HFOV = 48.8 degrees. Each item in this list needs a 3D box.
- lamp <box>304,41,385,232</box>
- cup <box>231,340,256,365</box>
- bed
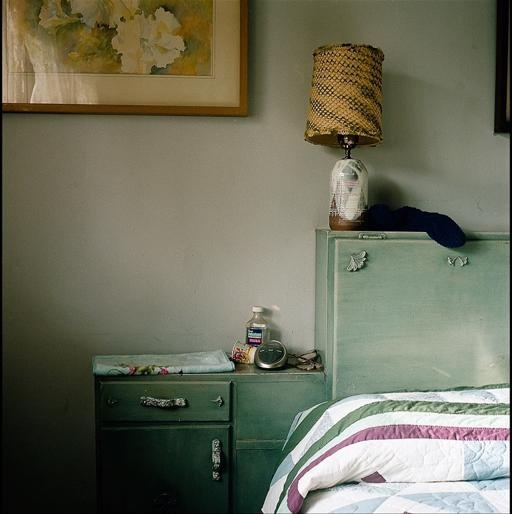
[{"bbox_3d":[0.297,-0.402,1.896,0.253,0.631,0.282,0,2,11],"label":"lamp"},{"bbox_3d":[-0.043,0.331,1.964,0.080,0.053,0.084,0,41,0],"label":"cup"},{"bbox_3d":[0.442,0.308,1.602,0.709,0.685,0.248,0,1,-1],"label":"bed"}]
